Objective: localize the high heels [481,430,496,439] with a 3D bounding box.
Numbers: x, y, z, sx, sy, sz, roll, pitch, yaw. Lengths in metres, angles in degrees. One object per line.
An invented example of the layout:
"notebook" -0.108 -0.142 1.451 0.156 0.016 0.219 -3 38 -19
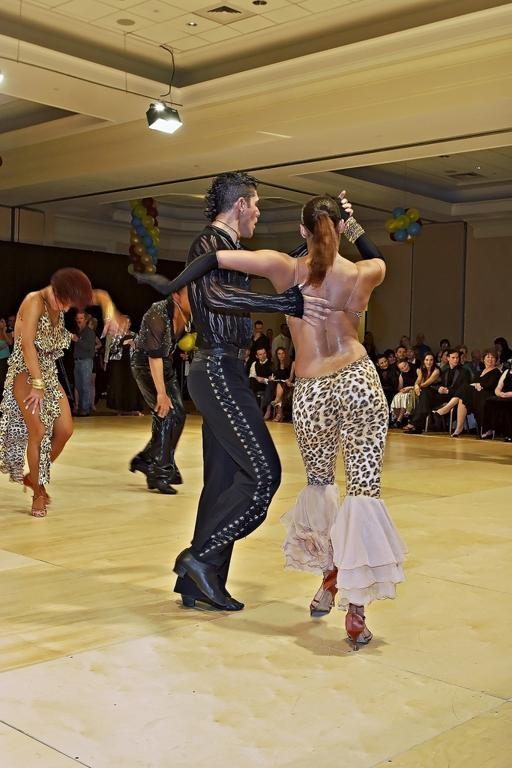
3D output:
"high heels" 4.121 0.874 9.973 0.198 0.163 0.167 3 9 14

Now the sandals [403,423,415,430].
"sandals" 2.947 0.812 10.823 0.125 0.107 0.275 -2 -7 12

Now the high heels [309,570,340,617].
"high heels" 0.262 0.816 2.214 0.084 0.084 0.232 1 -5 0

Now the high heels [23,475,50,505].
"high heels" -1.695 0.828 4.441 0.161 0.195 0.508 5 -2 -37

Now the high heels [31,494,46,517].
"high heels" -1.599 0.886 4.152 0.082 0.082 0.229 1 6 -15

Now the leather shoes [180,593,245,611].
"leather shoes" -0.175 0.902 2.361 0.262 0.091 0.089 -3 -5 9

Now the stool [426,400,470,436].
"stool" 3.703 0.534 10.827 0.702 0.722 0.835 -1 2 -19

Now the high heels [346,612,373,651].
"high heels" 0.339 0.826 1.927 0.065 0.083 0.179 -3 9 3

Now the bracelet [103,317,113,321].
"bracelet" -0.914 -0.393 3.480 0.046 0.036 0.074 -1 9 -15

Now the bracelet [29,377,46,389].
"bracelet" -1.517 0.000 3.888 0.074 0.050 0.069 -2 0 -9

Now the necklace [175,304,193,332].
"necklace" -0.641 -0.566 4.881 0.160 0.198 0.080 3 5 -37

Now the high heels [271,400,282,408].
"high heels" 0.440 0.396 11.863 0.124 0.140 0.379 2 -9 9
